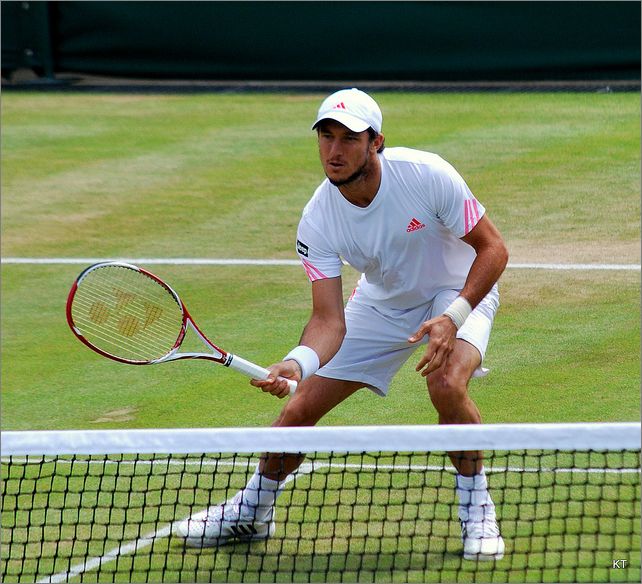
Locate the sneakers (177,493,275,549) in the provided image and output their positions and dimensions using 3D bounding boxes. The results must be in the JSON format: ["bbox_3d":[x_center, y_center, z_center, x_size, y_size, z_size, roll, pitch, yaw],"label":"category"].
[{"bbox_3d":[-0.474,1.112,5.465,0.593,0.258,0.200,-6,34,-8],"label":"sneakers"}]

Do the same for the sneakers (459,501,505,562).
[{"bbox_3d":[0.763,1.141,5.284,0.195,0.244,0.190,-2,14,1],"label":"sneakers"}]

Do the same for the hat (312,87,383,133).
[{"bbox_3d":[0.097,-0.888,5.456,0.346,0.228,0.445,1,1,22],"label":"hat"}]

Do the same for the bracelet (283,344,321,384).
[{"bbox_3d":[-0.089,0.343,5.377,0.151,0.145,0.167,-20,-10,-28],"label":"bracelet"}]

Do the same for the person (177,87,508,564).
[{"bbox_3d":[0.211,0.083,5.510,1.399,2.135,1.054,0,15,8],"label":"person"}]

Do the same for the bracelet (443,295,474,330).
[{"bbox_3d":[0.676,0.105,5.402,0.157,0.120,0.158,28,3,27],"label":"bracelet"}]
